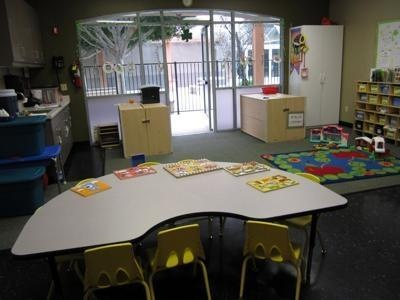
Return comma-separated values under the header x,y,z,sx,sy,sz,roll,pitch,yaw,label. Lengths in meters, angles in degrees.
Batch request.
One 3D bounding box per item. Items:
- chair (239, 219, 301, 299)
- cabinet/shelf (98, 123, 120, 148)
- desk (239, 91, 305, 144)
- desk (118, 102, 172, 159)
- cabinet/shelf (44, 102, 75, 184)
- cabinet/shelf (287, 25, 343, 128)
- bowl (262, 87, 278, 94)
x,y,z,sx,sy,sz,roll,pitch,yaw,label
0.583,0.933,2.317,0.481,0.773,0.513,1,23,12,chair
-2.130,-0.314,6.674,0.599,0.659,0.468,-2,5,-11,cabinet/shelf
1.700,-0.792,6.629,0.983,0.967,1.307,-9,16,-20,desk
-1.198,-0.455,5.984,1.048,0.967,1.029,-10,20,-23,desk
-2.501,-0.104,4.936,0.231,0.671,1.427,-3,14,-11,cabinet/shelf
3.052,-1.883,7.279,1.308,2.501,0.621,-4,15,-3,cabinet/shelf
1.700,-1.444,6.811,0.277,0.140,0.220,-2,14,1,bowl
